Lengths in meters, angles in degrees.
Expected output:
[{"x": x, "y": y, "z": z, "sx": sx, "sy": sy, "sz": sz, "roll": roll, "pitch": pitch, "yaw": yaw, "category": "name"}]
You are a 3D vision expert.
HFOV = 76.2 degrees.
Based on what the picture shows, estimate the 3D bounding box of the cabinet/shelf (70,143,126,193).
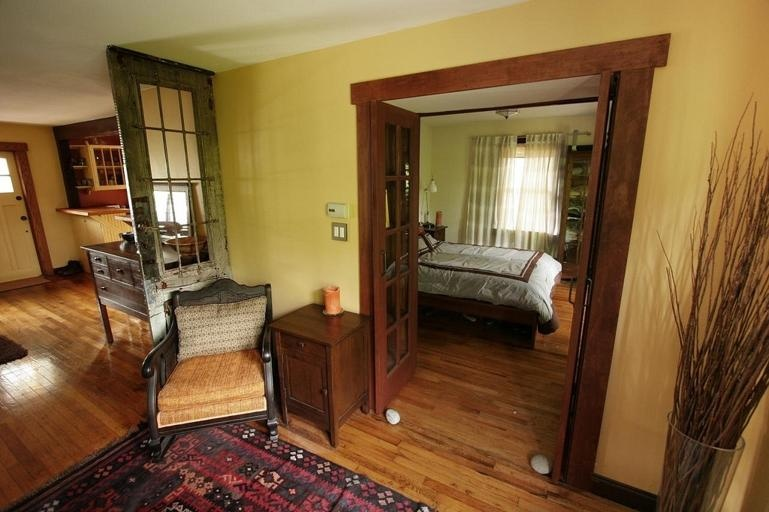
[{"x": -4.561, "y": -1.400, "z": 7.813, "sx": 0.764, "sy": 0.756, "sz": 0.446, "roll": -13, "pitch": 19, "yaw": -40, "category": "cabinet/shelf"}]

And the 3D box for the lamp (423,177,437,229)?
[{"x": 0.753, "y": -0.909, "z": 8.034, "sx": 0.232, "sy": 0.739, "sz": 0.326, "roll": 7, "pitch": 17, "yaw": 26, "category": "lamp"}]

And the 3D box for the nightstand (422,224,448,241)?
[{"x": 0.788, "y": -0.375, "z": 7.580, "sx": 0.377, "sy": 0.335, "sz": 0.281, "roll": -5, "pitch": 9, "yaw": -22, "category": "nightstand"}]

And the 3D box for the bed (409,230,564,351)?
[{"x": 1.074, "y": 0.311, "z": 5.419, "sx": 1.420, "sy": 0.375, "sz": 1.317, "roll": 6, "pitch": 24, "yaw": 23, "category": "bed"}]

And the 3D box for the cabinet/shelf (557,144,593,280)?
[{"x": 2.711, "y": -0.628, "z": 7.062, "sx": 0.317, "sy": 1.901, "sz": 0.291, "roll": 4, "pitch": 16, "yaw": 16, "category": "cabinet/shelf"}]

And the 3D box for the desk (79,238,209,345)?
[{"x": -2.251, "y": 0.355, "z": 4.627, "sx": 1.085, "sy": 0.909, "sz": 0.413, "roll": 6, "pitch": 14, "yaw": 31, "category": "desk"}]

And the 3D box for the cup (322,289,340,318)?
[{"x": -0.441, "y": 0.398, "z": 4.120, "sx": 0.218, "sy": 0.203, "sz": 0.197, "roll": -1, "pitch": 5, "yaw": -5, "category": "cup"}]

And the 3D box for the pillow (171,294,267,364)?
[{"x": -1.427, "y": 0.640, "z": 4.146, "sx": 0.569, "sy": 0.363, "sz": 0.151, "roll": -4, "pitch": 5, "yaw": -9, "category": "pillow"}]

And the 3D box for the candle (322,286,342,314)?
[{"x": -0.440, "y": 0.380, "z": 4.235, "sx": 0.216, "sy": 0.225, "sz": 0.207, "roll": -5, "pitch": 7, "yaw": -37, "category": "candle"}]
